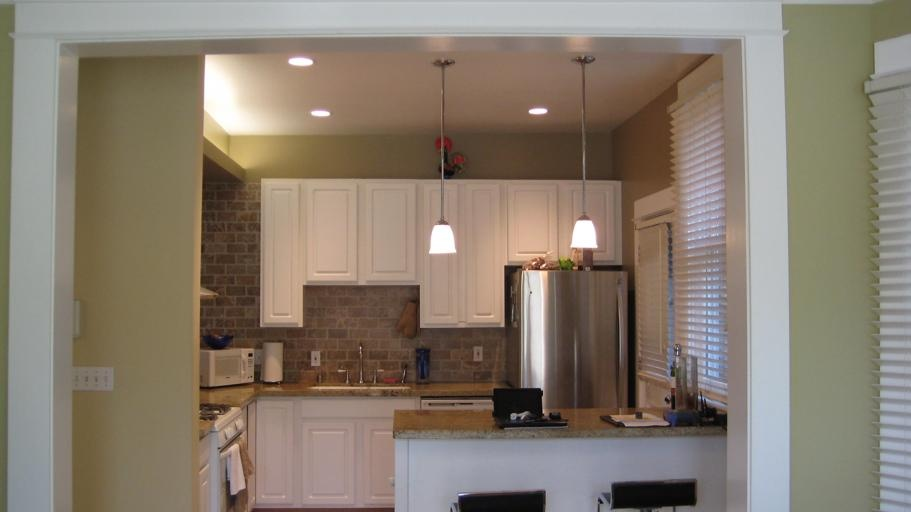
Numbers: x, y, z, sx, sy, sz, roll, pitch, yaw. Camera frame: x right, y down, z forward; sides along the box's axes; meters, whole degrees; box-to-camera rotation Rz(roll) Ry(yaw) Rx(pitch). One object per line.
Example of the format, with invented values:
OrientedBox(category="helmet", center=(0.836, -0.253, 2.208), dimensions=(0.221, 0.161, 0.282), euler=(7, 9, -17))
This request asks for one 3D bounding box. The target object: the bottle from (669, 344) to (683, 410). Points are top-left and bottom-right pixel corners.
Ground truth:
OrientedBox(category="bottle", center=(1.608, 0.867, 5.378), dimensions=(0.085, 0.454, 0.285), euler=(-2, -5, 16))

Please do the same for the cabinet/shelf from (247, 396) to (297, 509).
OrientedBox(category="cabinet/shelf", center=(-1.642, 1.764, 6.716), dimensions=(0.360, 0.977, 0.130), euler=(1, -5, -11))

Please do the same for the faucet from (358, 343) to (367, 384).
OrientedBox(category="faucet", center=(-0.902, 1.017, 7.154), dimensions=(0.069, 0.379, 0.062), euler=(1, -5, -11))

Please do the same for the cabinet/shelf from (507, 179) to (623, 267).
OrientedBox(category="cabinet/shelf", center=(1.025, -0.317, 7.121), dimensions=(1.125, 0.770, 0.412), euler=(0, 2, 9))

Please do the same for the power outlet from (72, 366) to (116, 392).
OrientedBox(category="power outlet", center=(-2.469, 0.827, 4.961), dimensions=(0.275, 0.161, 0.062), euler=(-2, 1, -2))

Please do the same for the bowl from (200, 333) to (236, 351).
OrientedBox(category="bowl", center=(-2.221, 0.778, 6.846), dimensions=(0.216, 0.084, 0.208), euler=(0, -10, 0))

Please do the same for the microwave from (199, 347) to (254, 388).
OrientedBox(category="microwave", center=(-2.179, 1.035, 6.883), dimensions=(0.375, 0.310, 0.522), euler=(-5, -7, 30))

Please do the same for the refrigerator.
OrientedBox(category="refrigerator", center=(1.070, 0.763, 6.779), dimensions=(0.954, 1.624, 0.780), euler=(-2, 23, 5))

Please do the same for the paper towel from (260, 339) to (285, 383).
OrientedBox(category="paper towel", center=(-1.746, 1.016, 7.268), dimensions=(0.347, 0.532, 0.323), euler=(1, -3, -14))
